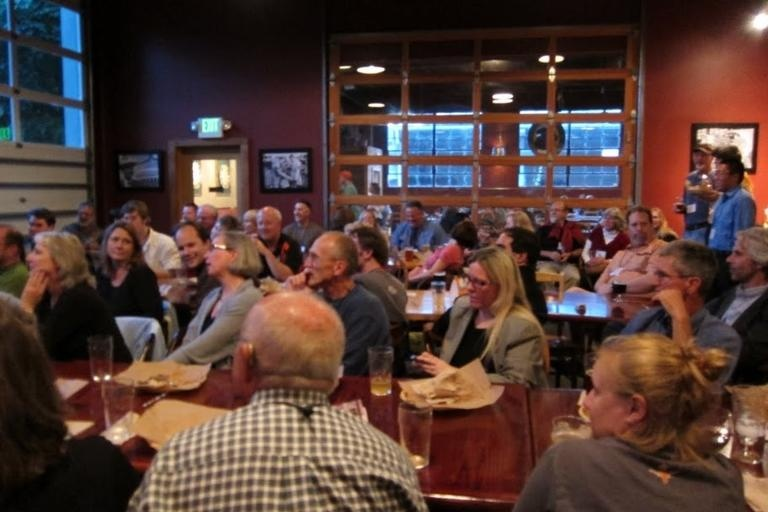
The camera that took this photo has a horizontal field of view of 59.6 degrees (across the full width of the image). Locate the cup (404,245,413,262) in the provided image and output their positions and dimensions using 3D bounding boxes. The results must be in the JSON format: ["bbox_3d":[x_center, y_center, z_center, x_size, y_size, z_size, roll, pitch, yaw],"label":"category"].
[{"bbox_3d":[0.274,-0.015,7.334,0.142,0.154,0.137,0,14,0],"label":"cup"}]

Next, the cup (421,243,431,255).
[{"bbox_3d":[0.496,-0.077,7.989,0.129,0.137,0.132,1,0,0],"label":"cup"}]

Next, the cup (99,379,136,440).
[{"bbox_3d":[-1.199,0.689,3.009,0.130,0.247,0.259,-3,6,-23],"label":"cup"}]

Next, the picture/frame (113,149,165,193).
[{"bbox_3d":[-3.698,-1.285,10.174,0.699,0.497,0.069,1,0,11],"label":"picture/frame"}]

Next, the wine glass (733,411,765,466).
[{"bbox_3d":[1.559,0.778,2.866,0.119,0.211,0.107,3,7,26],"label":"wine glass"}]

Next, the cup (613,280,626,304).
[{"bbox_3d":[1.922,0.289,5.328,0.143,0.159,0.154,0,10,0],"label":"cup"}]

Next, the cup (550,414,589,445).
[{"bbox_3d":[0.823,0.770,2.977,0.162,0.101,0.289,1,5,13],"label":"cup"}]

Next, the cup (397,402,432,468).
[{"bbox_3d":[0.132,0.755,2.871,0.139,0.270,0.173,0,6,1],"label":"cup"}]
